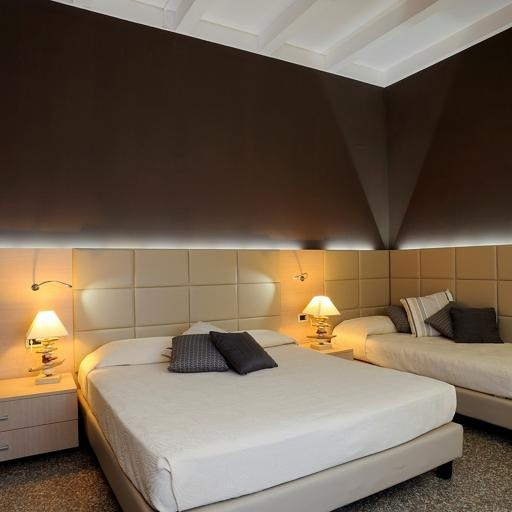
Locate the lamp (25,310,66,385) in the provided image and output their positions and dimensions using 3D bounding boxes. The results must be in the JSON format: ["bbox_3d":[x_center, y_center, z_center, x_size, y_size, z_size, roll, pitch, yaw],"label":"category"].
[{"bbox_3d":[-1.521,0.644,2.774,0.275,0.501,0.334,-3,0,10],"label":"lamp"}]
